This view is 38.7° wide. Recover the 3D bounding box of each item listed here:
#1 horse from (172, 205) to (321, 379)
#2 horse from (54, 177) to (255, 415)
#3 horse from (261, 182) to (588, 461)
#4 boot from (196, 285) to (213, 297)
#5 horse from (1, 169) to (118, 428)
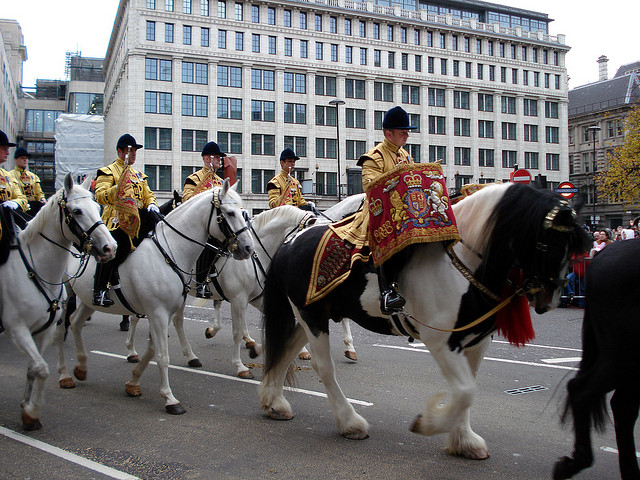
[{"bbox_3d":[-1.303,0.839,16.413,1.466,3.049,4.964,1,0,-39],"label":"horse"},{"bbox_3d":[-3.059,0.800,14.969,1.373,3.364,3.896,0,0,44],"label":"horse"},{"bbox_3d":[1.262,1.175,13.297,5.753,3.767,1.663,0,-4,45],"label":"horse"},{"bbox_3d":[-2.082,0.917,16.177,0.218,0.083,0.254,8,-14,-10],"label":"boot"},{"bbox_3d":[-3.976,0.843,13.474,1.439,3.622,1.005,-8,15,-32],"label":"horse"}]
